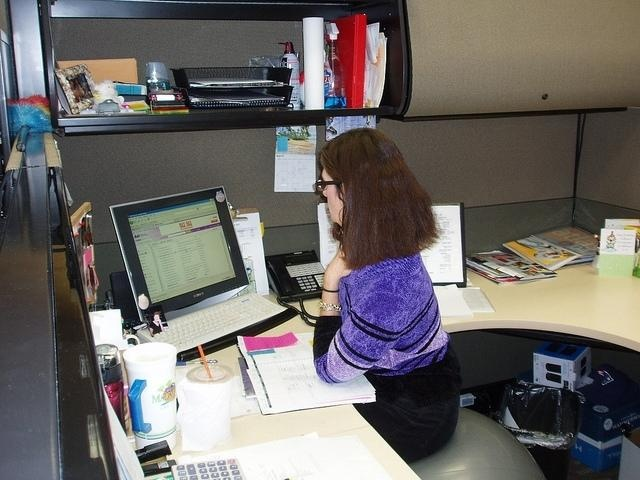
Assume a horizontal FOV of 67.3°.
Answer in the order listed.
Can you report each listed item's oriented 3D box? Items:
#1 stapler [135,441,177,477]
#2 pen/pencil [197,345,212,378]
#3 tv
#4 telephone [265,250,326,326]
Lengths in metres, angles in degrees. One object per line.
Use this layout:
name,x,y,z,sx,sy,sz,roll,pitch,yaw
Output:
stapler,-0.328,0.435,0.954,0.063,0.031,0.086,-4,33,-38
pen/pencil,-0.293,0.306,1.212,0.017,0.103,0.016,-18,9,5
tv,-0.500,0.058,1.673,0.391,0.368,0.150,-14,-18,-39
telephone,-0.117,0.185,1.984,0.183,0.098,0.262,-7,41,-25
